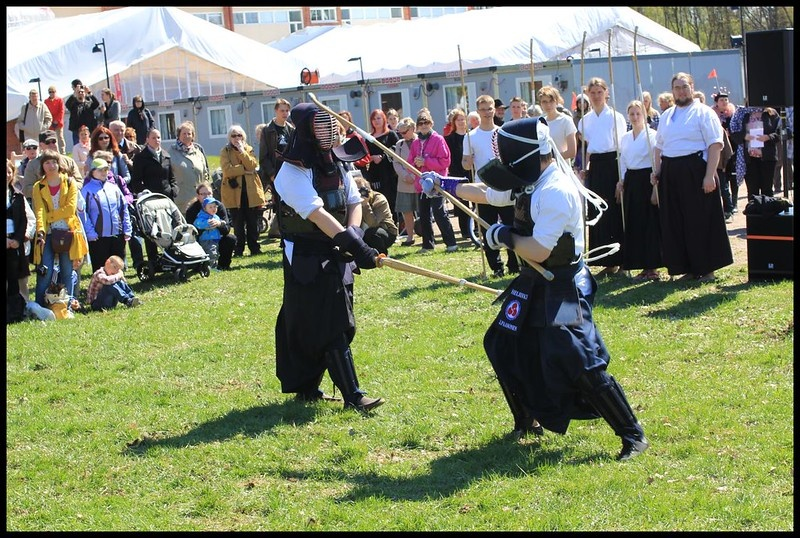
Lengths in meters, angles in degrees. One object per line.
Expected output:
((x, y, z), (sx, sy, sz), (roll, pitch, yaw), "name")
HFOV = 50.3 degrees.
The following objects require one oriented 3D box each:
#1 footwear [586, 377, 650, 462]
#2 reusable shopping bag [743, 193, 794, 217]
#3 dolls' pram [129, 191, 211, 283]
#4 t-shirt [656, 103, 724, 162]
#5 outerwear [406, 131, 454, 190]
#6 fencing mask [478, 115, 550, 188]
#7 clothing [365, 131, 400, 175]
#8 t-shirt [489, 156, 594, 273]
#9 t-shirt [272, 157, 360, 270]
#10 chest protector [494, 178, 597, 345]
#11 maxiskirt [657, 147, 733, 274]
((2.094, 1.376, 8.152), (0.622, 0.874, 0.139), (-5, 6, -7), "footwear")
((5.545, -0.956, 12.773), (0.741, 0.422, 1.059), (2, 2, 29), "reusable shopping bag")
((-4.048, -0.700, 15.442), (1.550, 1.869, 1.225), (6, 11, 23), "dolls' pram")
((4.078, -1.986, 12.101), (0.584, 0.851, 1.046), (-2, 5, -35), "t-shirt")
((0.504, -1.904, 15.241), (0.843, 0.988, 0.574), (4, 17, 27), "outerwear")
((1.127, -1.153, 8.322), (0.822, 0.552, 0.578), (-10, 24, 9), "fencing mask")
((-0.311, -2.238, 16.450), (0.817, 1.072, 0.695), (-1, 7, -4), "clothing")
((1.474, -0.547, 8.093), (1.002, 1.055, 0.795), (-7, 14, -6), "t-shirt")
((-0.848, -0.671, 9.209), (0.522, 0.992, 1.008), (-16, -21, 30), "t-shirt")
((1.698, -0.131, 8.855), (1.167, 1.679, 1.492), (0, 4, 15), "chest protector")
((4.187, -0.815, 12.400), (1.052, 1.796, 0.720), (0, 11, 44), "maxiskirt")
